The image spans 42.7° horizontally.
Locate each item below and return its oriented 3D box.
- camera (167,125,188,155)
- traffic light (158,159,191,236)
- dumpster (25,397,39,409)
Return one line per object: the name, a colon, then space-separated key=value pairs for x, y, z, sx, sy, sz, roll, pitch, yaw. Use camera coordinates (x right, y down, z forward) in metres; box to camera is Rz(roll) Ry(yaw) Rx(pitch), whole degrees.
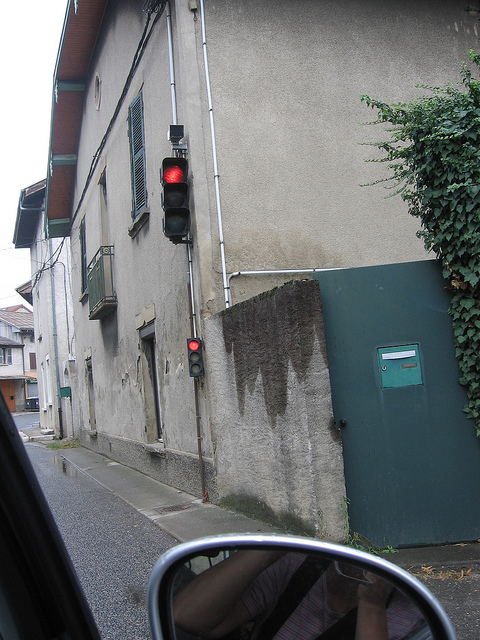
camera: x=-0.704 y=-2.072 z=6.913 sx=0.235 sy=0.423 sz=0.225 roll=1 pitch=-2 yaw=-9
traffic light: x=-0.677 y=-1.326 z=6.512 sx=0.358 sy=0.883 sz=0.315 roll=7 pitch=-13 yaw=-11
dumpster: x=-17.251 y=6.807 z=51.086 sx=0.921 sy=0.940 sz=2.081 roll=13 pitch=-17 yaw=-32
